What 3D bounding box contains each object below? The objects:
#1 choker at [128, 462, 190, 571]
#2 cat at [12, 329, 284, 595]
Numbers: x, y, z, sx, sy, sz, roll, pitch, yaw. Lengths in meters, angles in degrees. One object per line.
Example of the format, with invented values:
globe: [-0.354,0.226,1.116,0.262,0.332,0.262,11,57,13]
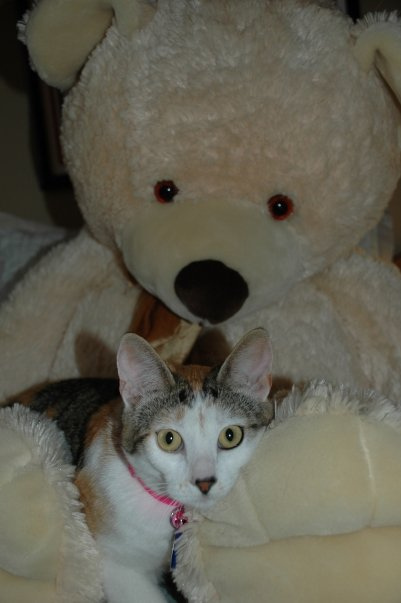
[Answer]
choker: [-0.066,0.352,1.144,0.043,0.167,0.096,-7,8,-41]
cat: [-0.083,0.264,1.325,0.336,0.389,0.546,4,4,-28]
